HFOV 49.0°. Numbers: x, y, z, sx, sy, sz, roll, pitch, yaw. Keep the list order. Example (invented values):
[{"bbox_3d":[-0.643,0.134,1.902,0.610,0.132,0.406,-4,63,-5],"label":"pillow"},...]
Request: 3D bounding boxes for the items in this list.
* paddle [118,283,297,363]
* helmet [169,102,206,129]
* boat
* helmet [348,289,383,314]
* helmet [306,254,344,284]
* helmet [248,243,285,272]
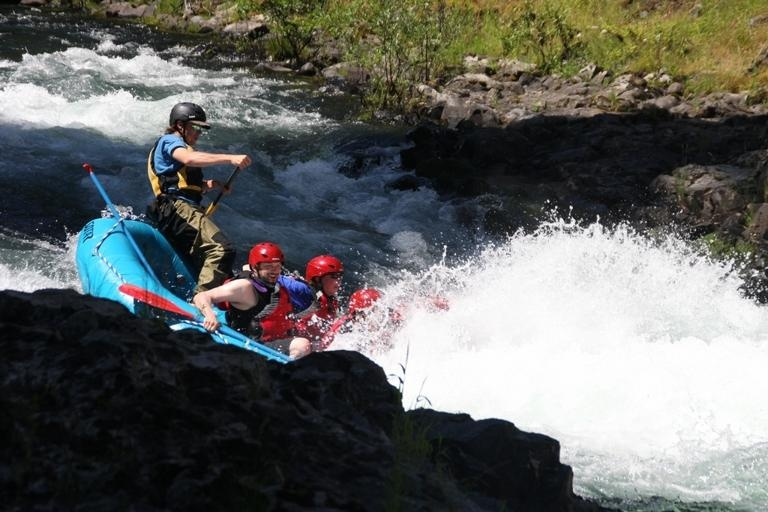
[{"bbox_3d":[-2.789,1.036,13.124,1.996,0.179,0.303,28,18,-2],"label":"paddle"},{"bbox_3d":[-3.298,-2.397,14.316,0.555,0.316,0.407,3,6,-2],"label":"helmet"},{"bbox_3d":[-3.443,0.627,13.734,3.568,0.838,2.051,37,26,-2],"label":"boat"},{"bbox_3d":[-0.365,0.847,15.429,0.499,0.407,0.364,-30,43,-23],"label":"helmet"},{"bbox_3d":[-1.026,0.221,14.840,0.552,0.432,0.424,-28,-2,14],"label":"helmet"},{"bbox_3d":[-1.951,-0.039,14.033,0.514,0.497,0.393,-16,-13,32],"label":"helmet"}]
